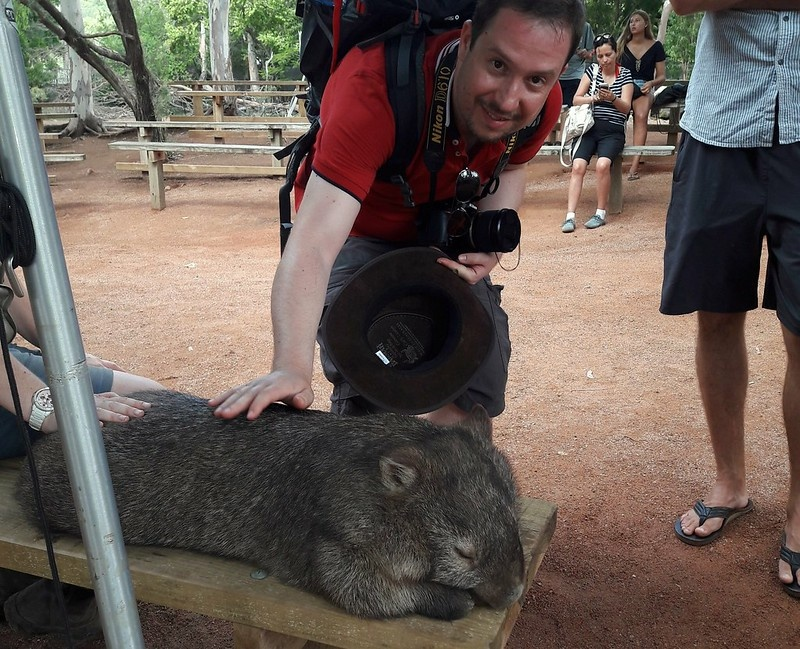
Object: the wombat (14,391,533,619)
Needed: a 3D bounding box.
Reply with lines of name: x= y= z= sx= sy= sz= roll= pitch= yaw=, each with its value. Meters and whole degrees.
wombat: x=-0.589 y=0.527 z=2.406 sx=2.038 sy=0.754 sz=0.688 roll=3 pitch=15 yaw=21
